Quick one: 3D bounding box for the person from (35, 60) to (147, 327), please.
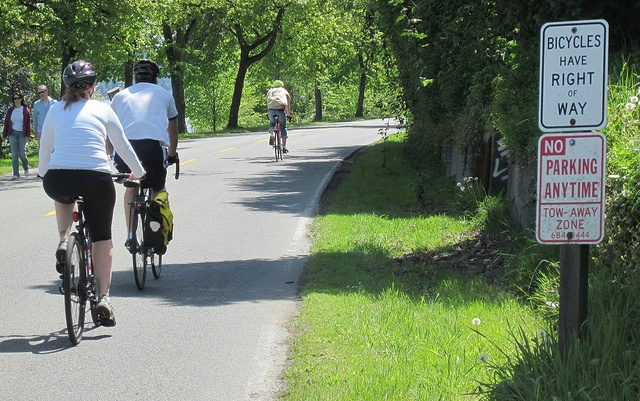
[{"bbox_3d":[-2.880,-0.084,9.149,1.045,3.185,0.761,1,11,12],"label":"person"}]

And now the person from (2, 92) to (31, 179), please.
[{"bbox_3d":[-8.111,-1.739,19.887,0.697,2.287,0.897,-6,12,-21],"label":"person"}]

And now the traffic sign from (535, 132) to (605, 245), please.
[{"bbox_3d":[2.430,-0.110,7.237,0.618,1.074,0.289,2,11,17],"label":"traffic sign"}]

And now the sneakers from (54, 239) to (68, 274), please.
[{"bbox_3d":[-3.127,0.686,8.959,0.224,0.384,0.184,2,10,-21],"label":"sneakers"}]

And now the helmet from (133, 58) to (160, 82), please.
[{"bbox_3d":[-2.565,-1.923,10.932,0.283,0.368,0.383,0,18,-6],"label":"helmet"}]

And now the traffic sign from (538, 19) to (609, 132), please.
[{"bbox_3d":[2.466,-1.222,7.244,0.656,1.059,0.326,1,11,13],"label":"traffic sign"}]

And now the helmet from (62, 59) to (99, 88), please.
[{"bbox_3d":[-2.946,-1.584,9.082,0.281,0.287,0.350,-3,-34,14],"label":"helmet"}]
